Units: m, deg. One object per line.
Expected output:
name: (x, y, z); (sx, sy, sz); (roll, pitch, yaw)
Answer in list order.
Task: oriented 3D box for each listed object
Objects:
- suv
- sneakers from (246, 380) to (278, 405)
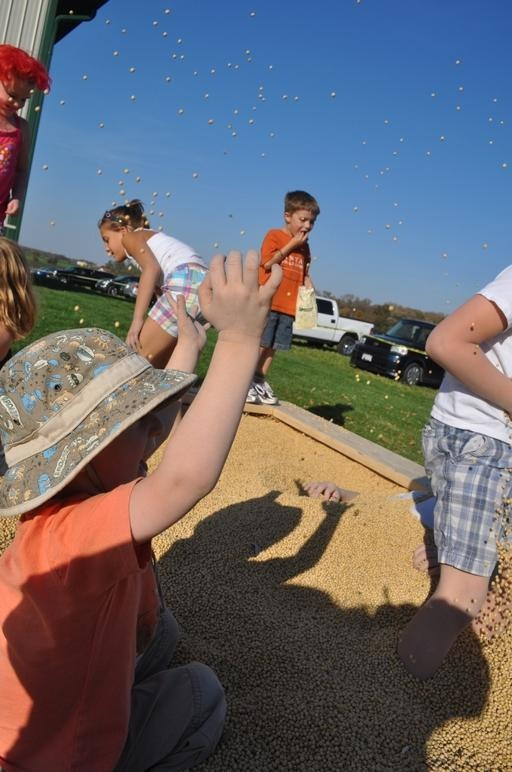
suv: (4.380, -0.784, 13.698); (3.255, 1.433, 1.809); (3, 5, -38)
sneakers: (0.076, 0.087, 5.104); (0.144, 0.168, 0.380); (2, 0, -41)
